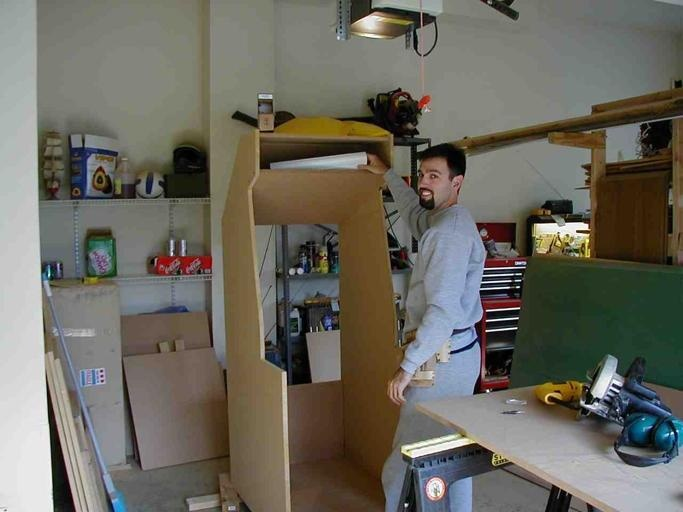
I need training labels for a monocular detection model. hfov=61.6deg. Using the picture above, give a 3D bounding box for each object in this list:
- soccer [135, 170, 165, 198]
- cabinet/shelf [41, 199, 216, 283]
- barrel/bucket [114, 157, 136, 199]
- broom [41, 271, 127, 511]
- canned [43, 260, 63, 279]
[{"bbox_3d":[-1.643,-0.607,4.931,0.181,0.230,0.253,-3,29,-13],"label":"soccer"},{"bbox_3d":[-1.896,-0.158,5.066,1.400,0.743,0.203,-2,14,-30],"label":"cabinet/shelf"},{"bbox_3d":[-1.868,-0.671,4.924,0.141,0.344,0.156,1,5,34],"label":"barrel/bucket"},{"bbox_3d":[-1.739,0.939,3.864,0.120,0.295,1.581,-14,38,-28],"label":"broom"},{"bbox_3d":[-2.350,0.114,4.661,0.126,0.156,0.133,-2,-3,-3],"label":"canned"}]
